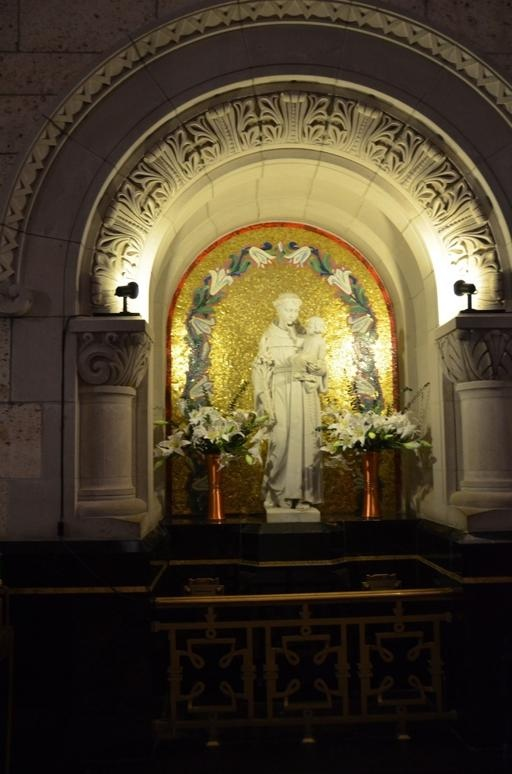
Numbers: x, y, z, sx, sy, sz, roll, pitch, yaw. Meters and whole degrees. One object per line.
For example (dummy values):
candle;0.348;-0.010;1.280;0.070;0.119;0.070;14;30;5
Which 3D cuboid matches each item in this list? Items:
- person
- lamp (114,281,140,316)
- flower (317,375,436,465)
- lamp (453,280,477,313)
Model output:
person;0.280;0.086;6.706;0.578;1.746;0.332;-2;-9;-7
lamp;-0.865;-0.562;5.642;0.147;0.235;0.255;-1;-9;-9
flower;0.987;0.342;6.644;0.702;0.337;0.720;5;-1;43
lamp;1.440;-0.608;5.759;0.145;0.262;0.311;-5;-9;13
